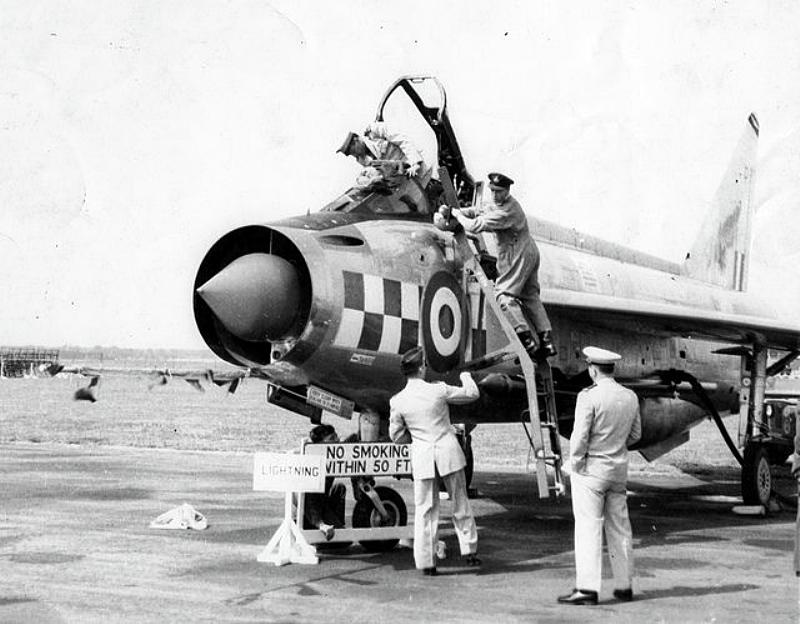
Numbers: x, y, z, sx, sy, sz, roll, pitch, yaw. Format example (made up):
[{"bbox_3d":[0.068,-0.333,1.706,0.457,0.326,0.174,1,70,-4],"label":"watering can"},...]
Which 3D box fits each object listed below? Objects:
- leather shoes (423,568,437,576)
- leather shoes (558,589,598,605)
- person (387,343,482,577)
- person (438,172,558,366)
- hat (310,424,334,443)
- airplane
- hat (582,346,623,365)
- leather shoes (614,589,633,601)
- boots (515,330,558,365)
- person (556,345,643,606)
[{"bbox_3d":[0.307,2.719,10.621,0.109,0.099,0.085,0,-10,6],"label":"leather shoes"},{"bbox_3d":[1.717,2.739,9.788,0.347,0.152,0.154,5,-7,3],"label":"leather shoes"},{"bbox_3d":[0.420,1.602,11.134,0.969,2.367,0.725,-7,0,-4],"label":"person"},{"bbox_3d":[1.290,-0.505,12.252,0.669,2.092,1.240,-9,-15,37],"label":"person"},{"bbox_3d":[-0.901,1.403,11.836,0.282,0.199,0.186,1,-12,-6],"label":"hat"},{"bbox_3d":[1.017,-0.188,14.098,8.087,4.306,7.785,-7,-9,42],"label":"airplane"},{"bbox_3d":[2.149,0.462,10.530,0.360,0.144,0.394,5,3,44],"label":"hat"},{"bbox_3d":[2.180,2.762,9.913,0.179,0.122,0.151,-3,-12,9],"label":"leather shoes"},{"bbox_3d":[1.600,0.418,12.155,0.201,0.568,0.427,-32,-14,30],"label":"boots"},{"bbox_3d":[2.002,1.577,10.186,0.810,2.580,0.674,-3,-12,14],"label":"person"}]
